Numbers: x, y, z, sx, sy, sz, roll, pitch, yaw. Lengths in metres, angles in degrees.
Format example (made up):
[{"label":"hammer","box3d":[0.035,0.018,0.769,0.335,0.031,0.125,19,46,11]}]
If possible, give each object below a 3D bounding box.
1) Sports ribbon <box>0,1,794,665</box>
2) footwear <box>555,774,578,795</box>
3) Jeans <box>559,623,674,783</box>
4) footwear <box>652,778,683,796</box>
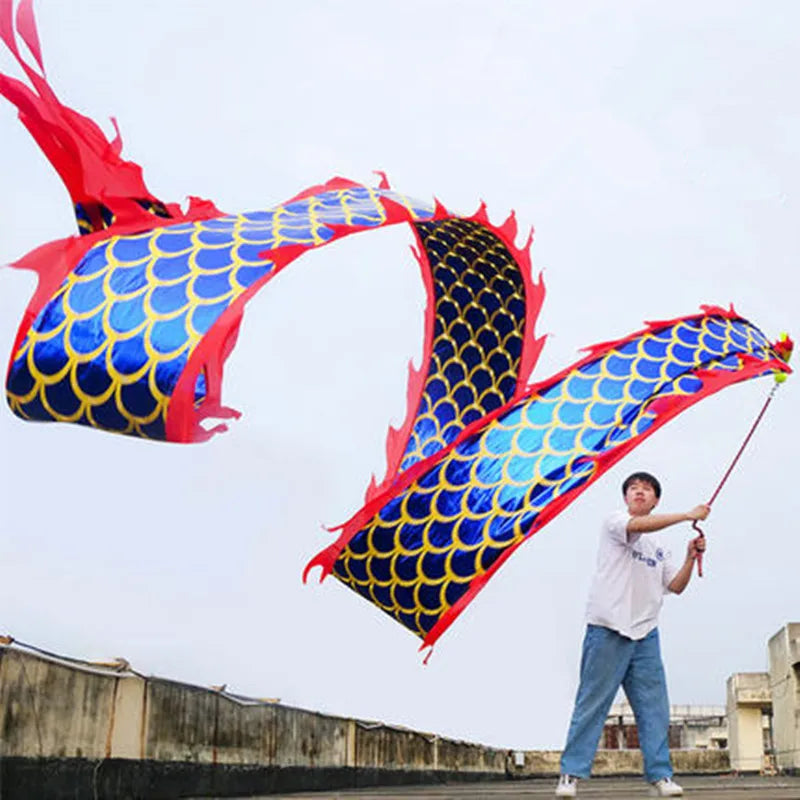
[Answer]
[{"label":"Sports ribbon","box3d":[-0.360,-0.190,9.418,4.318,2.697,2.818,32,-27,2]},{"label":"footwear","box3d":[0.789,1.830,7.524,0.067,0.093,0.201,1,-8,7]},{"label":"Jeans","box3d":[1.071,1.466,7.615,0.548,0.736,0.351,6,-13,0]},{"label":"footwear","box3d":[1.277,1.840,7.534,0.065,0.065,0.165,1,-5,-7]}]
